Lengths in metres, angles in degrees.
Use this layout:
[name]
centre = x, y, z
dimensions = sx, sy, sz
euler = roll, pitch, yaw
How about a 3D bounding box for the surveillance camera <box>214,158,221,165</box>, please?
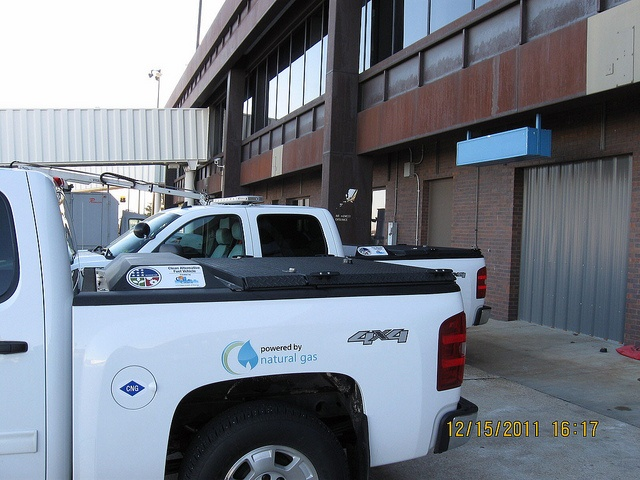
[surveillance camera]
centre = -5.113, -3.891, 26.304
dimensions = 0.301, 0.477, 0.136
euler = 4, 10, 36
